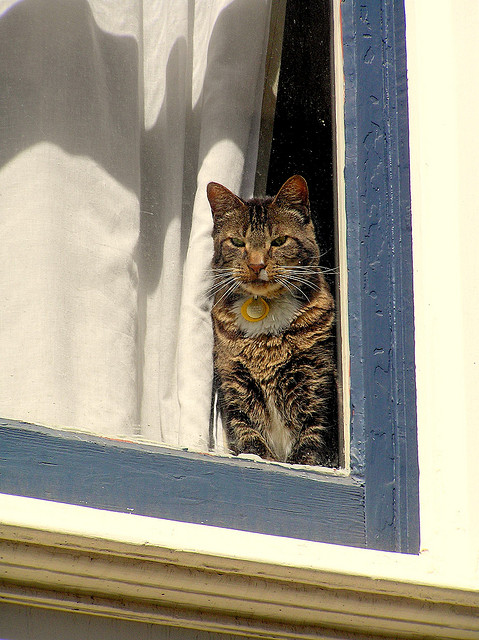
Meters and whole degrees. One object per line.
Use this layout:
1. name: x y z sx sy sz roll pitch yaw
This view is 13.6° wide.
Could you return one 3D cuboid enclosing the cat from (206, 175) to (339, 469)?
1. cat: 0.074 0.056 4.155 0.221 0.582 0.835 -3 -10 5
